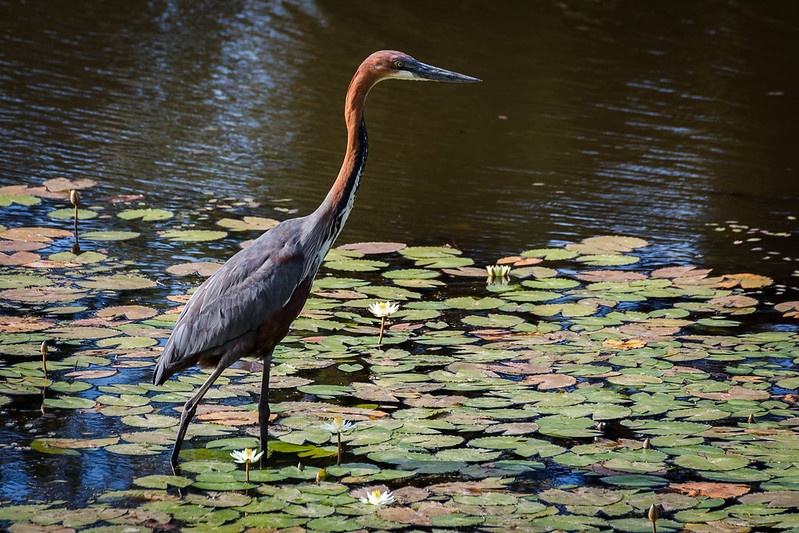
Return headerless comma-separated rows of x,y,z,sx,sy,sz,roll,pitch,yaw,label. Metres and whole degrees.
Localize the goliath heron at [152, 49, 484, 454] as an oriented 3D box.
-0.995,-0.317,7.634,0.641,3.371,1.201,13,0,44,goliath heron
